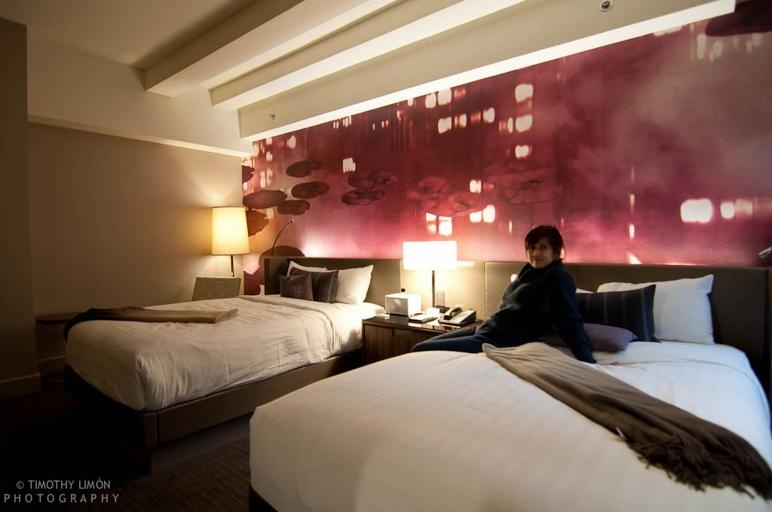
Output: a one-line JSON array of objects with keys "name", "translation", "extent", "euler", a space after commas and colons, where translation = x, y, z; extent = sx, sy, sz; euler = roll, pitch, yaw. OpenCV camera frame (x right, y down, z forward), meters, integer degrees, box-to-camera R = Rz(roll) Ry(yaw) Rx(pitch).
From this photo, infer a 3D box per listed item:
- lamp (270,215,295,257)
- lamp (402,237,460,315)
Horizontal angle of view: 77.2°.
[{"name": "lamp", "translation": [-1.391, -0.270, 6.567], "extent": [0.230, 0.584, 0.163], "euler": [15, 35, -27]}, {"name": "lamp", "translation": [0.475, 0.209, 4.891], "extent": [0.741, 0.969, 0.256], "euler": [-1, -3, 35]}]
